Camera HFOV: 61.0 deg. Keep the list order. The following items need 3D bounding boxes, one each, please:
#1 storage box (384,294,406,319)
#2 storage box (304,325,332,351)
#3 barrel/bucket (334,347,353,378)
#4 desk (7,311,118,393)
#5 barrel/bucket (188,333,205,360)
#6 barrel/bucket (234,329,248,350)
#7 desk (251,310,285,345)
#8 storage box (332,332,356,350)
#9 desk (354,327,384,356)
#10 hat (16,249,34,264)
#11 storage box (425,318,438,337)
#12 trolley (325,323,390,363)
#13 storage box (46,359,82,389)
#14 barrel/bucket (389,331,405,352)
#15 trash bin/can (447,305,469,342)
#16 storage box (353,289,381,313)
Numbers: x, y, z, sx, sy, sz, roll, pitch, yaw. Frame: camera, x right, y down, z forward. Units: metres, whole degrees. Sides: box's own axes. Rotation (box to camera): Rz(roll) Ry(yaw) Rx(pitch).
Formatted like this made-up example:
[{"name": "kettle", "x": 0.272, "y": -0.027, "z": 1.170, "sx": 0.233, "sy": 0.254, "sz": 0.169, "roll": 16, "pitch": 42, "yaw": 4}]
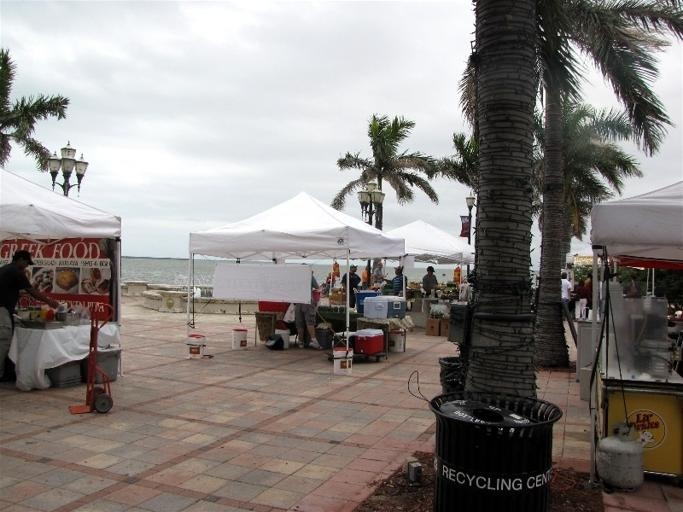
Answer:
[{"name": "storage box", "x": 1.292, "y": 1.199, "z": 13.868, "sx": 0.531, "sy": 0.430, "sz": 0.508, "roll": 0, "pitch": -3, "yaw": -12}, {"name": "storage box", "x": -0.609, "y": 1.977, "z": 14.696, "sx": 0.946, "sy": 0.629, "sz": 0.561, "roll": -3, "pitch": -6, "yaw": 33}, {"name": "barrel/bucket", "x": 0.008, "y": 2.077, "z": 11.566, "sx": 0.463, "sy": 0.598, "sz": 0.502, "roll": 0, "pitch": -4, "yaw": 0}, {"name": "desk", "x": -5.044, "y": 1.608, "z": 10.025, "sx": 1.407, "sy": 0.718, "sz": 1.121, "roll": 3, "pitch": 2, "yaw": 32}, {"name": "barrel/bucket", "x": -3.257, "y": 1.986, "z": 13.144, "sx": 0.473, "sy": 0.529, "sz": 0.510, "roll": 0, "pitch": -5, "yaw": 0}, {"name": "barrel/bucket", "x": -2.530, "y": 2.019, "z": 14.497, "sx": 0.417, "sy": 0.422, "sz": 0.408, "roll": 0, "pitch": -6, "yaw": 0}, {"name": "desk", "x": -1.903, "y": 1.836, "z": 15.123, "sx": 0.643, "sy": 0.835, "sz": 1.585, "roll": 0, "pitch": 2, "yaw": -18}, {"name": "storage box", "x": -0.044, "y": 1.763, "z": 12.337, "sx": 0.468, "sy": 0.280, "sz": 0.463, "roll": -2, "pitch": -4, "yaw": 28}, {"name": "desk", "x": 0.614, "y": 1.871, "z": 13.051, "sx": 0.512, "sy": 0.577, "sz": 0.901, "roll": -2, "pitch": -3, "yaw": 32}, {"name": "hat", "x": -5.504, "y": -0.004, "z": 9.946, "sx": 0.266, "sy": 0.198, "sz": 0.351, "roll": 2, "pitch": -1, "yaw": 3}, {"name": "storage box", "x": 2.797, "y": 2.126, "z": 17.804, "sx": 0.477, "sy": 0.446, "sz": 0.448, "roll": -2, "pitch": -6, "yaw": 12}, {"name": "trolley", "x": 0.438, "y": 1.932, "z": 13.079, "sx": 1.098, "sy": 0.503, "sz": 0.802, "roll": -4, "pitch": -3, "yaw": 32}, {"name": "storage box", "x": -4.903, "y": 2.014, "z": 10.199, "sx": 0.469, "sy": 0.422, "sz": 0.462, "roll": 2, "pitch": 2, "yaw": 35}, {"name": "barrel/bucket", "x": 1.407, "y": 1.999, "z": 14.448, "sx": 0.442, "sy": 0.554, "sz": 0.790, "roll": 1, "pitch": -2, "yaw": 14}, {"name": "trash bin/can", "x": 1.191, "y": 0.676, "z": 5.916, "sx": 0.174, "sy": 0.396, "sz": 0.283, "roll": 1, "pitch": 2, "yaw": 11}, {"name": "storage box", "x": 0.710, "y": 1.301, "z": 17.445, "sx": 0.759, "sy": 0.524, "sz": 0.539, "roll": -1, "pitch": -3, "yaw": 13}]
